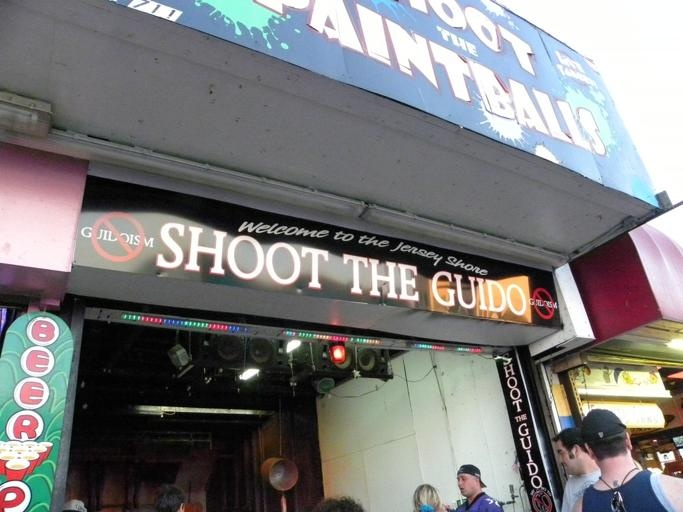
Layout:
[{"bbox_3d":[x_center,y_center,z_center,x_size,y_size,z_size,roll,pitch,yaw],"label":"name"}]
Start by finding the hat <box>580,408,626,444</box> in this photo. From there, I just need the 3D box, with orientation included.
[{"bbox_3d":[1.487,0.977,2.956,0.184,0.133,0.237,-22,-4,12],"label":"hat"}]

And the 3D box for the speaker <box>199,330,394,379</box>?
[{"bbox_3d":[-0.681,1.444,7.079,2.731,0.500,1.115,4,-26,-17],"label":"speaker"}]
